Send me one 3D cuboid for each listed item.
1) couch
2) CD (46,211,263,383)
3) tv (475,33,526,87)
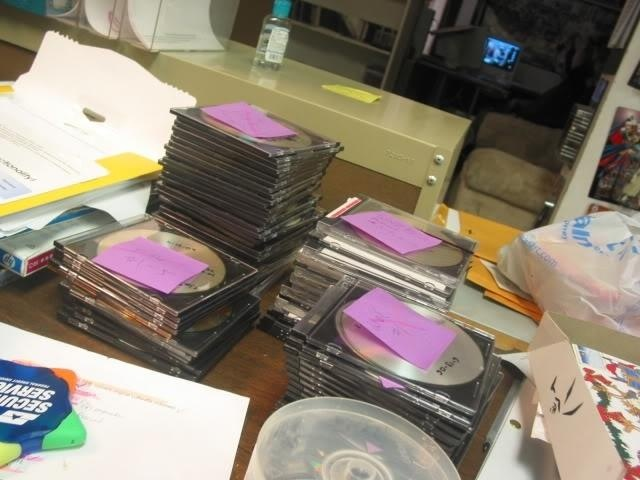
[{"bbox_3d":[1.209,-0.480,3.193,0.739,0.621,1.090,9,30,15],"label":"couch"},{"bbox_3d":[-0.241,0.074,0.715,0.270,0.082,0.205,23,33,16],"label":"CD"},{"bbox_3d":[1.312,-1.314,3.640,0.351,0.297,0.078,18,12,-8],"label":"tv"}]
